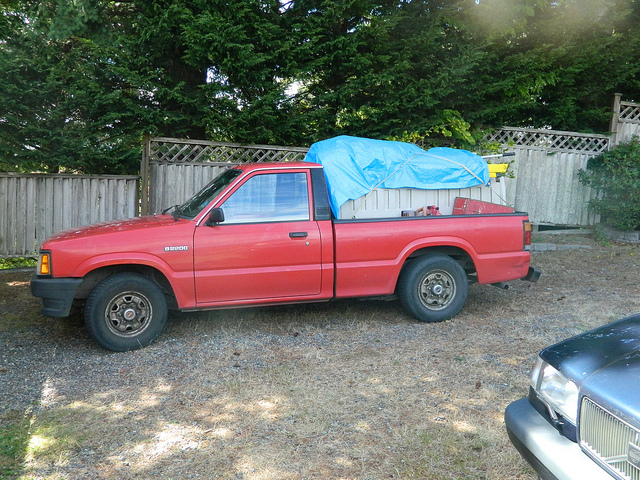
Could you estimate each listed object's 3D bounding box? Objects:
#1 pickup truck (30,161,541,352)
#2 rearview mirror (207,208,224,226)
[{"bbox_3d":[-0.361,-0.062,7.071,6.854,1.924,2.200,-3,14,-14],"label":"pickup truck"},{"bbox_3d":[-1.229,-0.284,5.799,0.223,0.229,0.190,-4,16,-12],"label":"rearview mirror"}]
